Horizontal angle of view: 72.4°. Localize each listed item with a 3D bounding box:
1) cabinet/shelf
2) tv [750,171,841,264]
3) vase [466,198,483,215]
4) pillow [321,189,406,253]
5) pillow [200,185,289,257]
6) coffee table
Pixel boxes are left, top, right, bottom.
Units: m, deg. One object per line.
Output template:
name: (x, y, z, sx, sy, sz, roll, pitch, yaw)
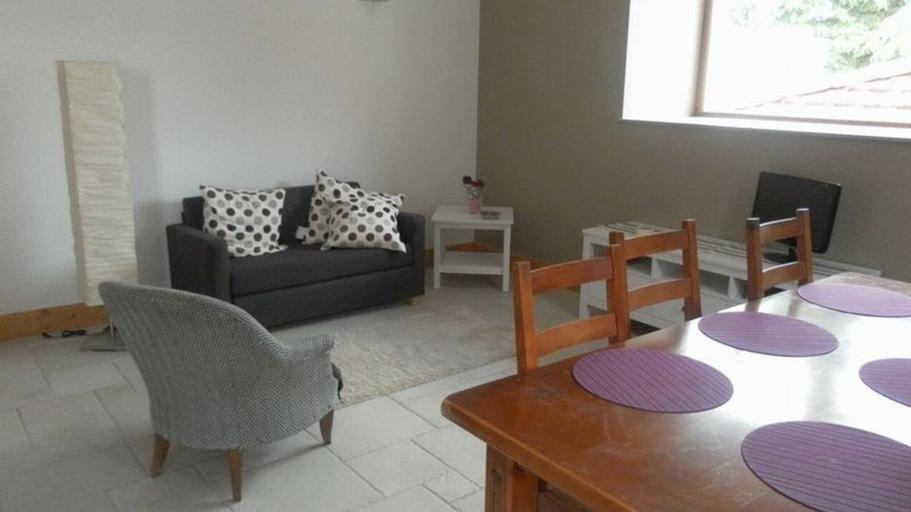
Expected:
cabinet/shelf: (1.958, 0.121, 4.225, 1.036, 0.444, 0.305, 15, 23, 40)
tv: (2.547, -0.290, 4.615, 0.662, 0.599, 0.225, 24, 31, 38)
vase: (0.209, -0.505, 6.477, 0.195, 0.176, 0.140, 1, 12, 3)
pillow: (-0.832, -0.291, 5.876, 0.634, 0.593, 0.167, 21, 54, -6)
pillow: (-1.892, -0.292, 5.498, 0.777, 0.533, 0.323, -2, -3, -37)
coffee table: (0.173, -0.104, 6.726, 1.228, 0.943, 0.879, 2, 13, 4)
